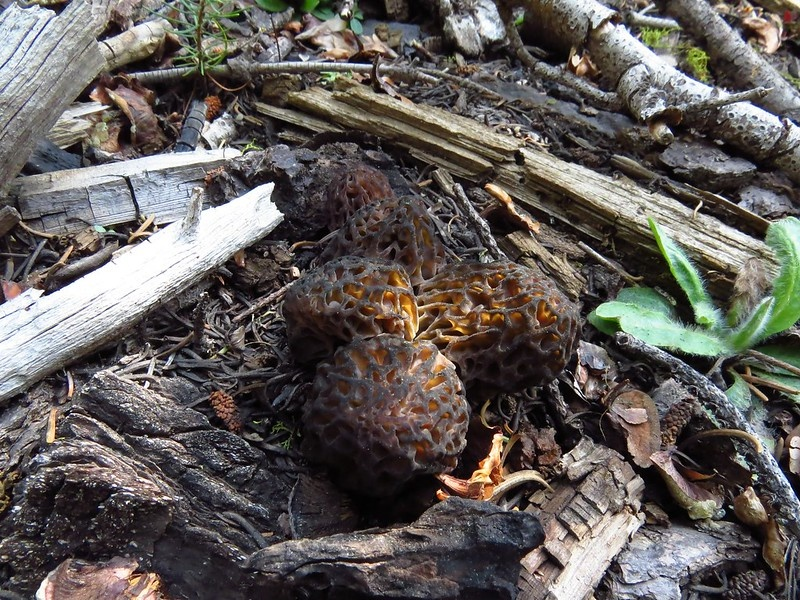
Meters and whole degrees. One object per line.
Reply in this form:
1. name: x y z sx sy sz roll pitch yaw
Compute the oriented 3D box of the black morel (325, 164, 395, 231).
1. black morel: -0.268 -0.665 4.348 0.392 0.263 0.451 -31 77 -8
